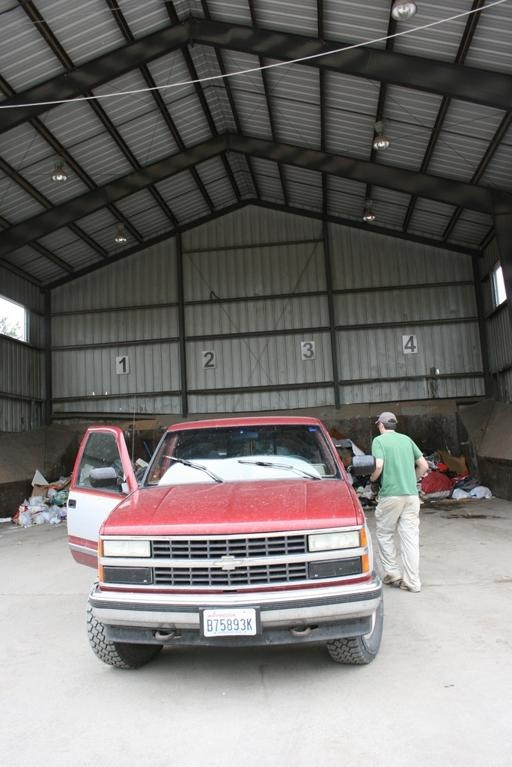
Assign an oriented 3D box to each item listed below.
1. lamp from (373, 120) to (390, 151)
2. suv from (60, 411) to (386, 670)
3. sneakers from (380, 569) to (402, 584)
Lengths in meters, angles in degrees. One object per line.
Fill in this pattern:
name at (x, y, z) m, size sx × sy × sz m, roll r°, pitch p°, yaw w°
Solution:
lamp at (2.727, -5.428, 12.008) m, size 0.448 × 0.750 × 0.148 m, roll -6°, pitch -10°, yaw 22°
suv at (-0.061, 0.880, 3.445) m, size 1.221 × 0.966 × 1.960 m, roll -2°, pitch -19°, yaw 2°
sneakers at (1.242, 1.765, 5.025) m, size 0.083 × 0.099 × 0.208 m, roll -1°, pitch -3°, yaw -3°
